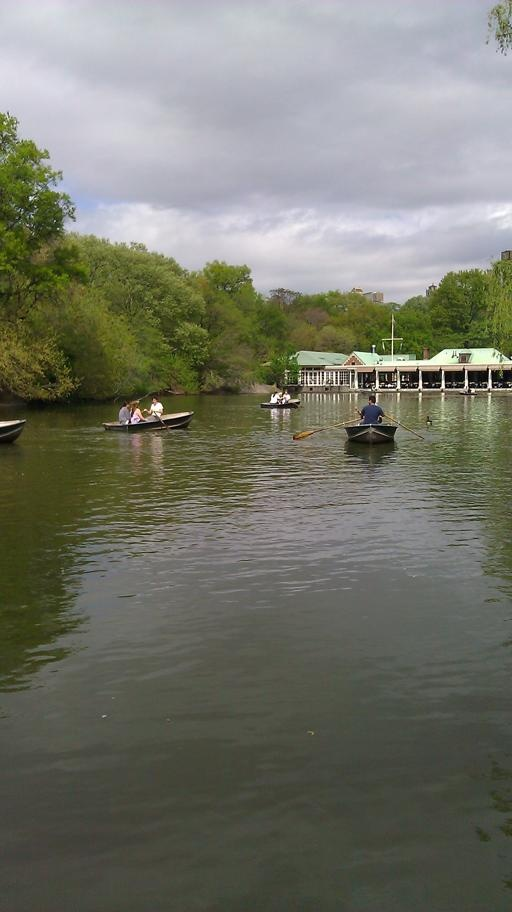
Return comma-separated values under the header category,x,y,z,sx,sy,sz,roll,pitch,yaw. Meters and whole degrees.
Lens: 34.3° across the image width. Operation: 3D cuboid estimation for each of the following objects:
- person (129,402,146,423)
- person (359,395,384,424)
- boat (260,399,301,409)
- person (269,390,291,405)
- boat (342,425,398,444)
category,x,y,z,sx,sy,sz,roll,pitch,yaw
person,-5.686,-1.987,39.456,0.667,1.066,2.300,-2,3,-8
person,4.583,-1.744,33.092,0.750,1.060,1.168,-1,3,8
boat,2.033,-4.053,67.134,3.000,0.782,4.288,-1,2,1
person,2.033,-4.799,67.621,1.360,0.976,1.870,-1,1,3
boat,4.647,-0.833,33.504,1.887,0.818,1.867,-1,3,2
